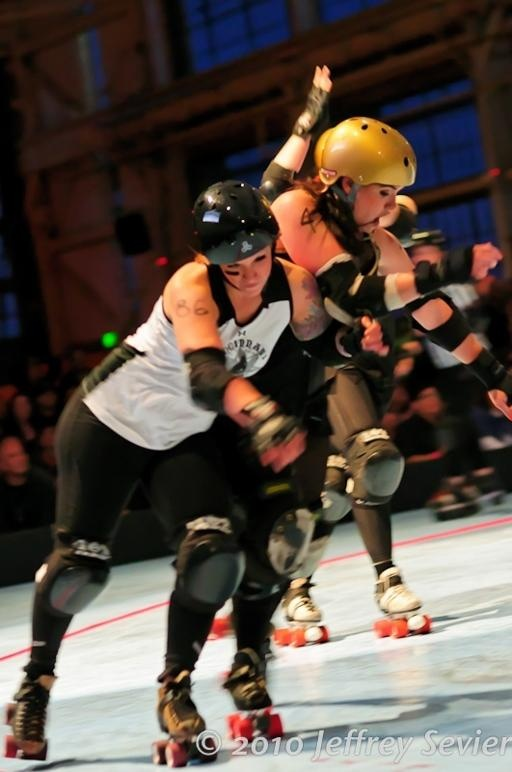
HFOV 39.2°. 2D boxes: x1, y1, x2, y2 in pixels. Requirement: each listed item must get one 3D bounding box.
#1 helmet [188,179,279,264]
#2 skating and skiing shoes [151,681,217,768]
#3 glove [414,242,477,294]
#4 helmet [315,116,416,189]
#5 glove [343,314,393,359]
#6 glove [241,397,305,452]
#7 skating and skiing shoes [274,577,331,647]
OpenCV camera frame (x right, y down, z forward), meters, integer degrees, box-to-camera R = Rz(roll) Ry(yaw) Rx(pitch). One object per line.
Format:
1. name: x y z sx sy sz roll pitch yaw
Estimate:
1. helmet: -0.052 -0.312 1.401 0.156 0.135 0.191 -25 7 -12
2. skating and skiing shoes: -0.142 0.611 1.310 0.119 0.155 0.084 -10 -10 -5
3. glove: 0.364 -0.224 1.410 0.123 0.067 0.048 -19 -46 33
4. helmet: 0.300 -0.622 1.992 0.277 0.197 0.211 7 27 36
5. glove: 0.223 -0.099 1.505 0.082 0.087 0.231 -11 -9 0
6. glove: 0.021 0.063 1.127 0.092 0.086 0.046 -53 17 -24
7. skating and skiing shoes: 0.155 0.786 2.550 0.207 0.251 0.066 0 1 -16
